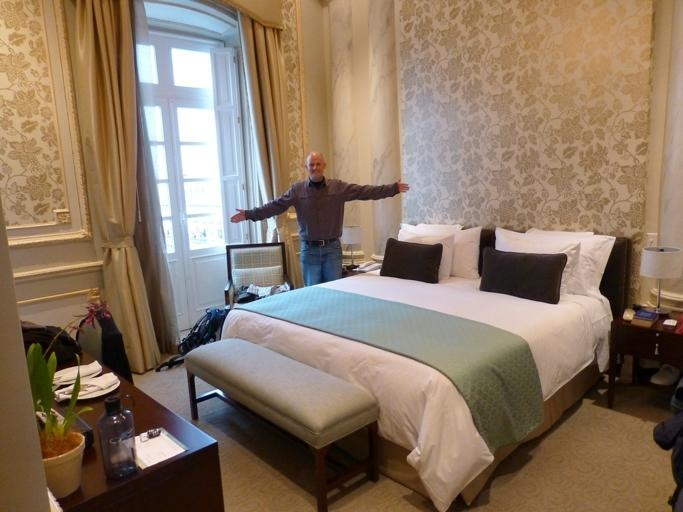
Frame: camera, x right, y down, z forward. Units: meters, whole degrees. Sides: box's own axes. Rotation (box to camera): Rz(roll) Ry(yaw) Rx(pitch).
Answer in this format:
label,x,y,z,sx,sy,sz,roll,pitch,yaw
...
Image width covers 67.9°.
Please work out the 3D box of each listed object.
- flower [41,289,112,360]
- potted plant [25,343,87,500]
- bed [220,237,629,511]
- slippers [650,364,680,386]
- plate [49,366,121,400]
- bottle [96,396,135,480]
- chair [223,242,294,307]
label,x,y,z,sx,sy,sz,roll,pitch,yaw
flower,-1.629,0.400,3.131,0.280,0.173,0.176,-28,15,-21
potted plant,-1.200,0.673,2.177,0.186,0.670,0.217,-10,14,-31
bed,0.952,0.687,3.576,1.992,1.100,2.024,5,11,41
slippers,2.402,0.882,3.757,0.223,0.098,0.107,-6,2,-41
plate,-1.419,0.705,2.802,0.232,0.057,0.257,5,7,5
bottle,-0.991,0.792,2.233,0.142,0.369,0.108,-9,14,-27
chair,-0.879,0.162,5.447,0.577,0.950,0.630,-3,5,-14
